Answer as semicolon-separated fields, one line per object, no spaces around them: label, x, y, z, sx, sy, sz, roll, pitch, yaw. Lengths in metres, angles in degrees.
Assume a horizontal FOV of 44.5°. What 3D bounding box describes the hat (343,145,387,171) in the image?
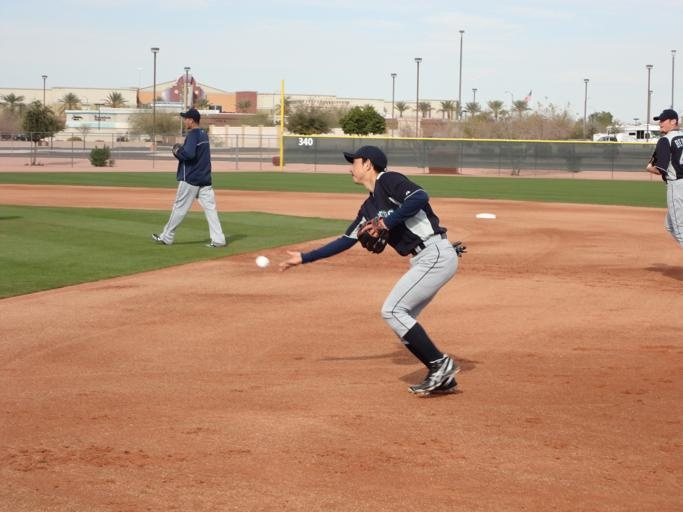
hat;0.153;-0.826;6.938;0.365;0.163;0.210;9;8;7

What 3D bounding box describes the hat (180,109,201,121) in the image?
hat;-2.489;-2.262;13.147;0.373;0.184;0.244;10;16;9

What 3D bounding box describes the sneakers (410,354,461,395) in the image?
sneakers;0.739;1.008;7.042;0.568;0.238;0.176;-18;2;-34

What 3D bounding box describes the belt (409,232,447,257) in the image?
belt;0.694;-0.067;6.928;0.238;0.053;0.214;-18;-20;-36

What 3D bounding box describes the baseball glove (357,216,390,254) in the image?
baseball glove;0.305;-0.169;6.889;0.249;0.275;0.184;0;-17;46

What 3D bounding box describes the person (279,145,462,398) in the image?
person;0.415;0.128;6.991;1.132;2.106;0.551;1;9;5
